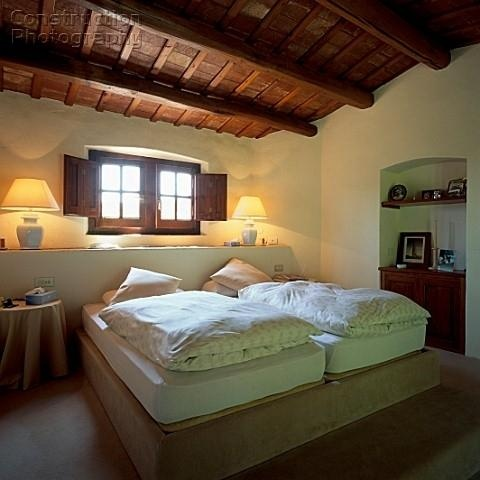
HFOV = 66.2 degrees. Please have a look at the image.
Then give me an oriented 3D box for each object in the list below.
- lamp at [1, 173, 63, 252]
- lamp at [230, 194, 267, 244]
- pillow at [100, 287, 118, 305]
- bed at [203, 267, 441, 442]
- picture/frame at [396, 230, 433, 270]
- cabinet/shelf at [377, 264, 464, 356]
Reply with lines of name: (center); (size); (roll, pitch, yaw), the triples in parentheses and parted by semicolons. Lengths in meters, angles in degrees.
lamp: (-2.046, -0.271, 3.578); (0.479, 0.712, 0.476); (-3, 3, -29)
lamp: (0.037, -0.235, 4.979); (0.545, 0.754, 0.564); (3, -5, -34)
pillow: (-1.209, 0.517, 3.395); (0.136, 0.066, 0.141); (5, 17, 40)
bed: (0.510, 0.704, 2.218); (0.686, 0.327, 0.957); (1, -2, -29)
picture/frame: (2.073, 0.122, 4.346); (0.037, 0.553, 0.374); (14, -13, -37)
cabinet/shelf: (1.651, 0.628, 3.254); (0.277, 0.767, 0.733); (5, -6, -34)
